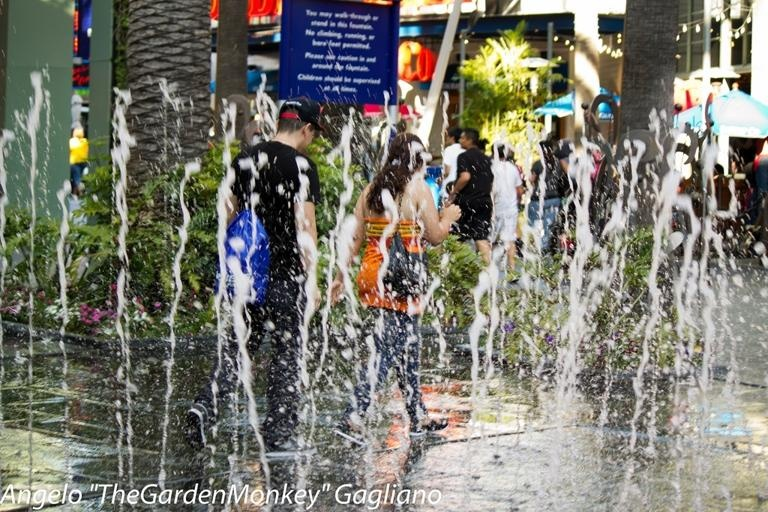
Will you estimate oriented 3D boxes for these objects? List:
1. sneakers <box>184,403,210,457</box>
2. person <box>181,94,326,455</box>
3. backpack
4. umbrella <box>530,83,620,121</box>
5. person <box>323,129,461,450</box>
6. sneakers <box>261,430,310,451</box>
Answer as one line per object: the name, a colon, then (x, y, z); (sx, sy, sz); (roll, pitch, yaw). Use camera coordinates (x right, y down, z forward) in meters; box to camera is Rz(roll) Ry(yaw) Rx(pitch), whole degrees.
sneakers: (-1.723, 1.556, 9.630); (0.150, 0.507, 0.203); (0, -3, 6)
person: (-1.067, 0.133, 9.821); (0.883, 3.052, 1.052); (2, 14, 2)
backpack: (-1.290, -0.027, 9.781); (0.471, 0.871, 0.238); (-2, 4, 45)
umbrella: (4.052, -3.459, 24.410); (1.985, 0.954, 2.076); (3, 3, 29)
person: (0.113, 0.257, 10.118); (1.090, 2.721, 0.999); (-3, 14, -15)
sneakers: (-0.922, 1.687, 9.745); (0.429, 0.126, 0.253); (1, 16, -3)
